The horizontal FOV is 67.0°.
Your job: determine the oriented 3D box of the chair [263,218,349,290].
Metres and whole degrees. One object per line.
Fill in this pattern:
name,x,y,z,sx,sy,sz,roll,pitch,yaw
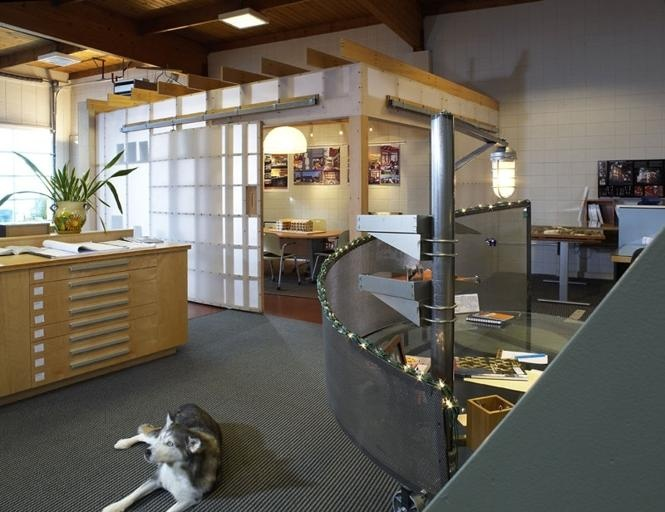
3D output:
chair,-0.514,-0.151,8.537,1.247,0.559,1.590,-2,5,-20

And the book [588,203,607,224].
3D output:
book,4.117,-0.641,7.874,0.238,0.281,0.094,-2,1,37

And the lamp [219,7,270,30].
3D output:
lamp,-1.246,-3.344,7.046,0.587,0.162,0.420,3,8,29
